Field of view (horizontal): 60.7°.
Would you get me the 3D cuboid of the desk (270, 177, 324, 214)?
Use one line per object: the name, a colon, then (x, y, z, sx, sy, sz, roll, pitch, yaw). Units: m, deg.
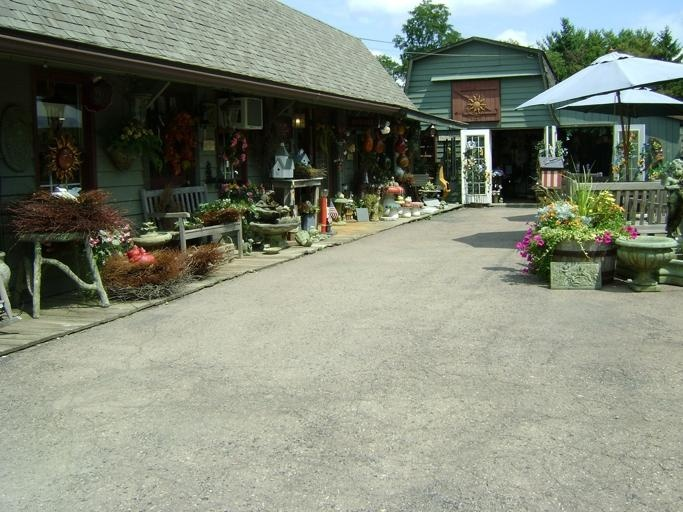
desk: (-0.941, -1.416, 12.542, 0.846, 0.985, 1.504, 2, 10, 15)

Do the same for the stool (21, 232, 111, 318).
stool: (-3.142, 0.151, 6.923, 1.027, 0.935, 0.948, -4, 8, -14)

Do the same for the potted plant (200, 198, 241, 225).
potted plant: (-2.017, -0.729, 9.661, 0.479, 0.244, 0.518, -4, 5, 21)

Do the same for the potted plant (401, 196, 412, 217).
potted plant: (1.840, -1.407, 16.670, 0.328, 0.507, 0.885, 0, 10, 6)

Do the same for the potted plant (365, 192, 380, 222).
potted plant: (0.855, -1.352, 15.989, 0.382, 0.649, 0.652, -1, 11, 3)

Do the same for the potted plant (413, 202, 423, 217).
potted plant: (2.172, -1.372, 16.984, 0.453, 0.373, 0.429, 0, 0, 0)

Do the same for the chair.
chair: (-2.375, -0.486, 9.335, 0.887, 1.227, 1.897, 2, 11, 19)
